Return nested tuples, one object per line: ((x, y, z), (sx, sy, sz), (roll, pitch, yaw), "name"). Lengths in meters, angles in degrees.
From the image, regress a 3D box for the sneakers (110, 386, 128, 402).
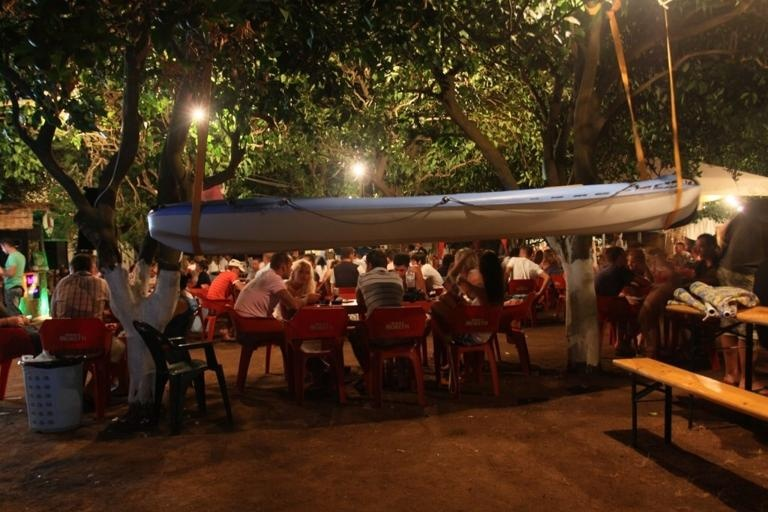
((-4.084, 2.123, 9.175), (0.202, 0.082, 0.206), (6, 11, 7), "sneakers")

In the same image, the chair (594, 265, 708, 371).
((4.883, 1.013, 10.700), (1.494, 1.885, 1.354), (1, -1, -8), "chair")
